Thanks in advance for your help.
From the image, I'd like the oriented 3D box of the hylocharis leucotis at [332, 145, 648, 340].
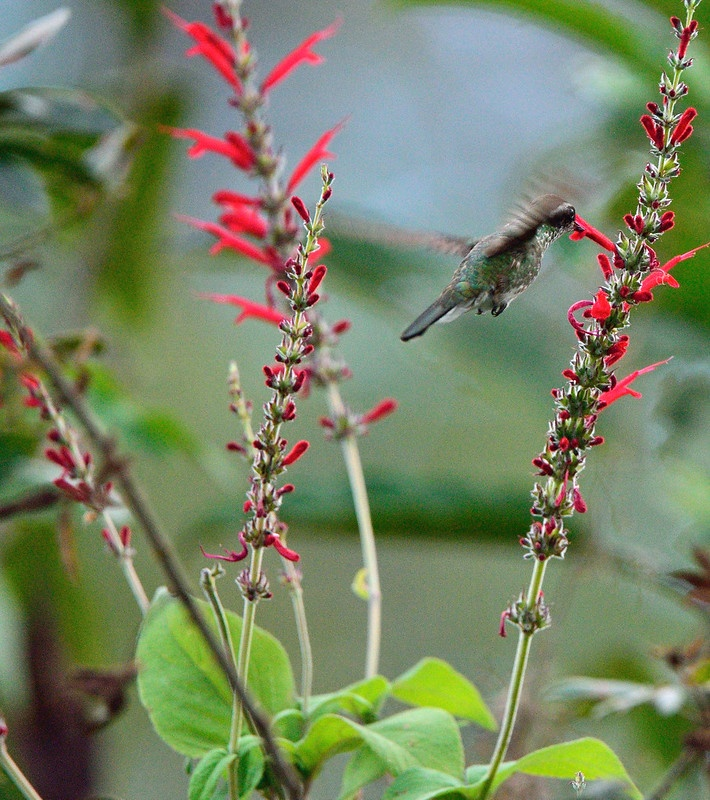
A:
[{"bbox_3d":[0.096,-0.105,0.949,0.184,0.141,0.073,-18,-90,32],"label":"hylocharis leucotis"}]
